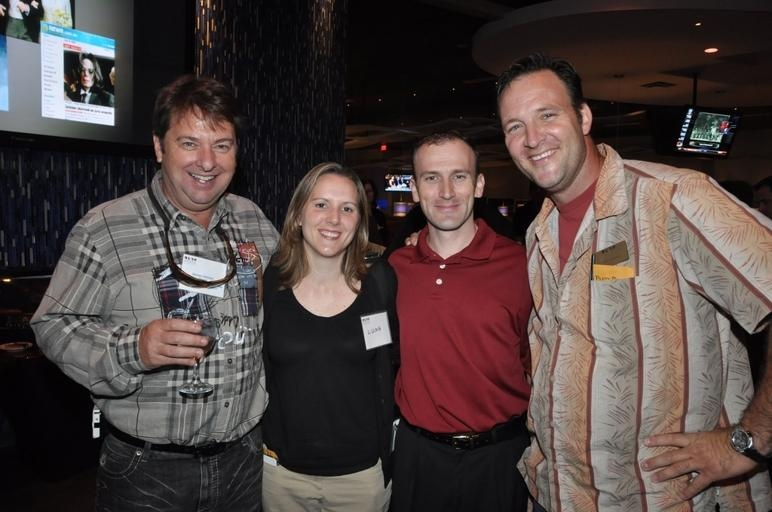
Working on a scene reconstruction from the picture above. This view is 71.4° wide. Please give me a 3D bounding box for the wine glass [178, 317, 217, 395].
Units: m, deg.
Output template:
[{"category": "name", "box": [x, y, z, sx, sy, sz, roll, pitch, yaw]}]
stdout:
[{"category": "wine glass", "box": [-0.895, 0.501, 2.569, 0.186, 0.425, 0.274, -4, 10, -23]}]
